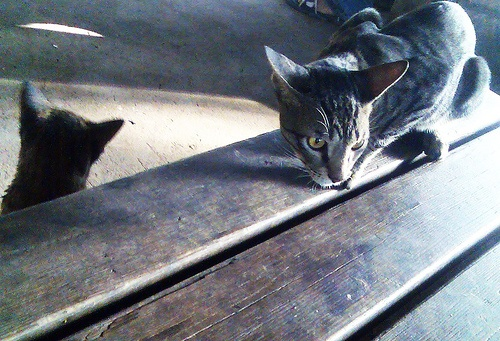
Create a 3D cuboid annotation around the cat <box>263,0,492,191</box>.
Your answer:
[{"bbox_3d":[0.758,-0.438,2.926,1.316,0.815,0.894,-42,48,-14],"label":"cat"}]
